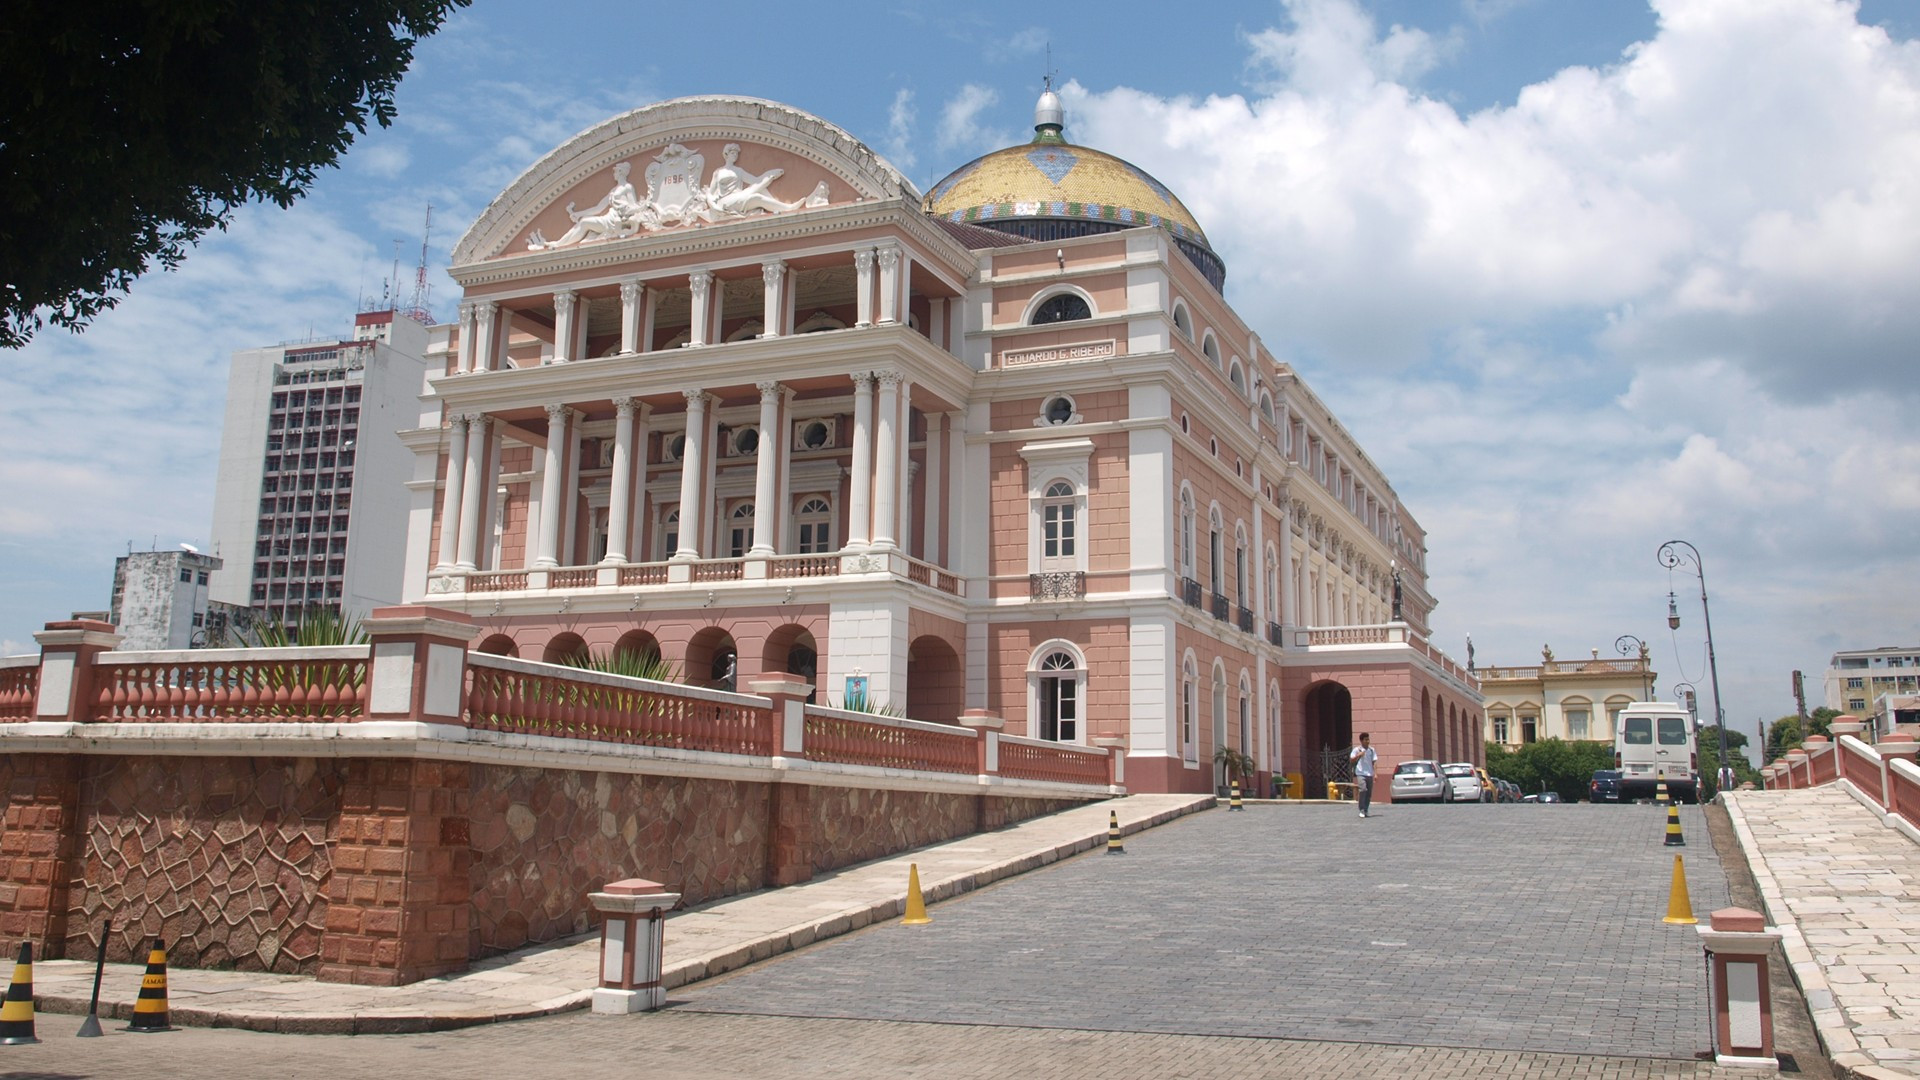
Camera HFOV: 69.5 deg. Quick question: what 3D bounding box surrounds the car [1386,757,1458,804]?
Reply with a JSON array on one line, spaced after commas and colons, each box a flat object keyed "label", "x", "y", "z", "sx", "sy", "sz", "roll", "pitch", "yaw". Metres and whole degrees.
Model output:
[{"label": "car", "x": 13.484, "y": 7.126, "z": 40.616, "sx": 1.111, "sy": 0.798, "sz": 2.350, "roll": -6, "pitch": -18, "yaw": 23}]

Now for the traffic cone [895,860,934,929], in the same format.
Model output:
[{"label": "traffic cone", "x": -0.802, "y": 5.535, "z": 21.771, "sx": 0.741, "sy": 0.901, "sz": 0.769, "roll": -3, "pitch": -3, "yaw": 33}]
